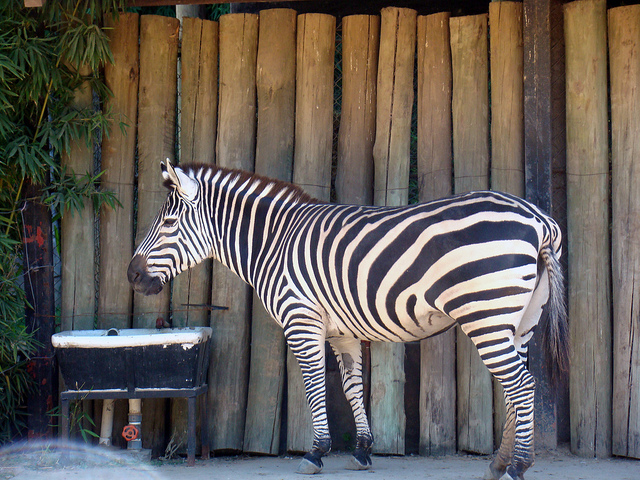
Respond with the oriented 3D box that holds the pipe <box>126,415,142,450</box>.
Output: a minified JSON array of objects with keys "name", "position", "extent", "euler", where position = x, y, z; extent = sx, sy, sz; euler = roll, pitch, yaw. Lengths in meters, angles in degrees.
[{"name":"pipe","position":[-1.213,1.255,8.155],"extent":[0.087,0.264,0.100],"euler":[-1,3,-14]}]

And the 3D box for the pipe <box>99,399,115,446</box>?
[{"name":"pipe","position":[-1.407,1.204,8.203],"extent":[0.092,0.299,0.174],"euler":[0,13,9]}]
